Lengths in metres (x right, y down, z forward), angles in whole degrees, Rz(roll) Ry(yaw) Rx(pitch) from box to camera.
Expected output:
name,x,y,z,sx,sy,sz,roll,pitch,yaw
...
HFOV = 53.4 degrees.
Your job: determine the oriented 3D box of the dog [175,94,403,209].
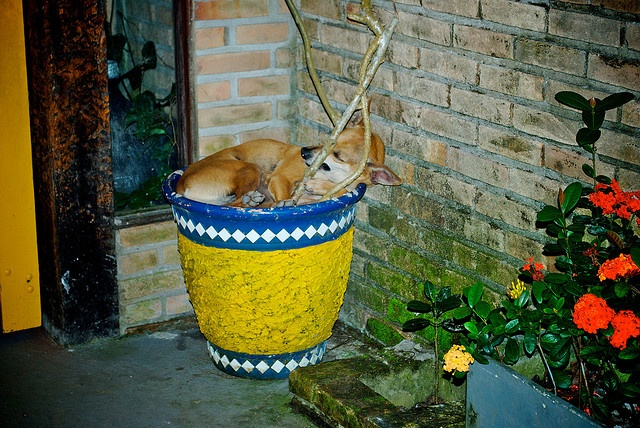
name,x,y,z,sx,sy,sz,roll,pitch,yaw
dog,-0.259,-0.369,4.369,1.621,0.974,0.610,6,0,-7
